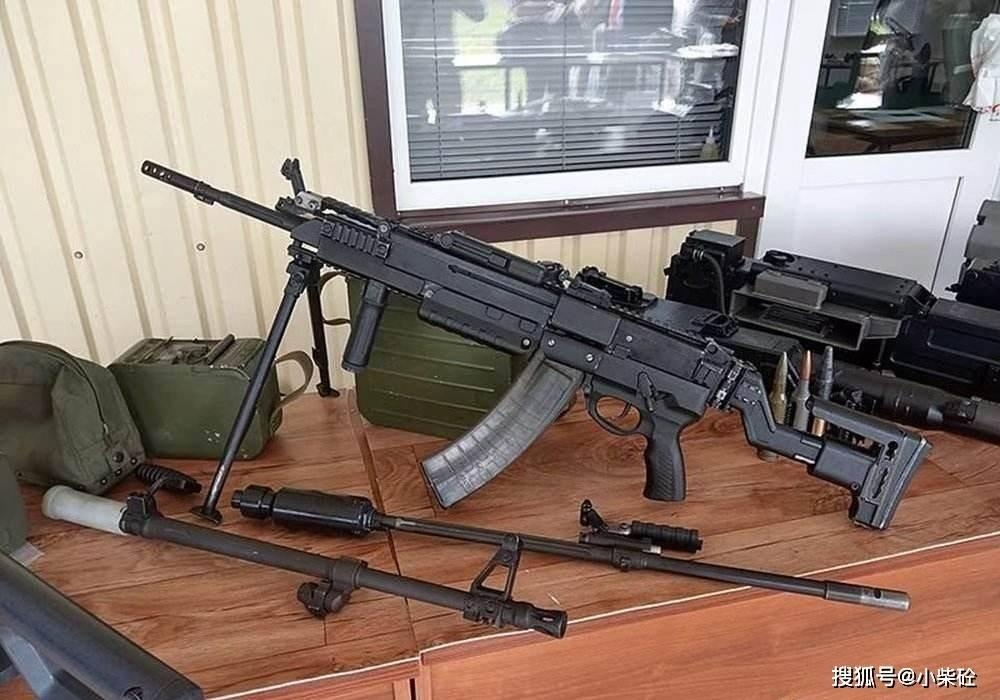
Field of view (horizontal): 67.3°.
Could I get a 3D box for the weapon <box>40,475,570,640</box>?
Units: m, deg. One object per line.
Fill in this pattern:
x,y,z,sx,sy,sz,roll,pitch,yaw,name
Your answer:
-0.496,0.525,1.854,1.204,0.211,0.126,11,-9,11,weapon

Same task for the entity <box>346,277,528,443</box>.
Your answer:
-0.164,0.019,2.152,0.468,0.397,0.215,15,35,-3,entity

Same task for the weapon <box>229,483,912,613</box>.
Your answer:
0.177,0.520,1.921,1.247,0.238,0.120,9,19,2,weapon

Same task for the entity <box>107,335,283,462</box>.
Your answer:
-0.891,0.133,2.279,0.469,0.273,0.223,0,26,12,entity
